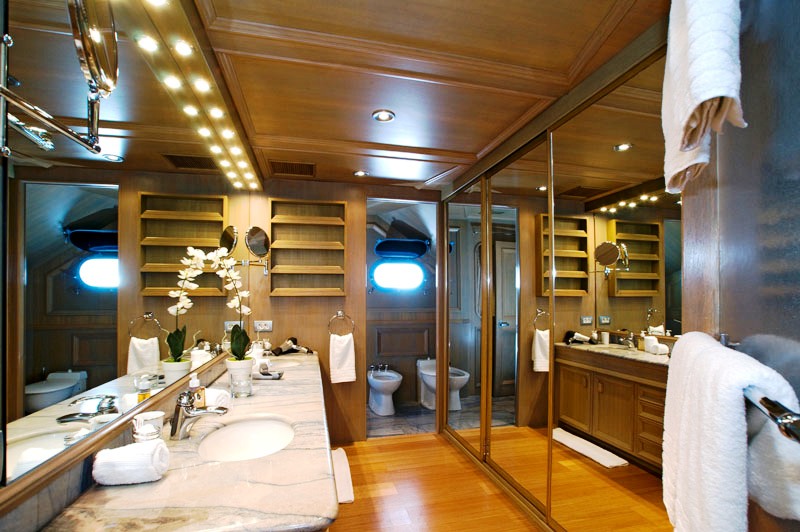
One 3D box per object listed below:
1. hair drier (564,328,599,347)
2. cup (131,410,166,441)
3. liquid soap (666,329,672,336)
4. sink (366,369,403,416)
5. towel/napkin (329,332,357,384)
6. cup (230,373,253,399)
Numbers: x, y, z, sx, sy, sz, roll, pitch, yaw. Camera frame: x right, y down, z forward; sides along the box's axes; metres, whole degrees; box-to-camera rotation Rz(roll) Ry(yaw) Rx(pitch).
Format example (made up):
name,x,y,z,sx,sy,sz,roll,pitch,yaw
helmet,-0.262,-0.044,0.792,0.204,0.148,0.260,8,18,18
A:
name,x,y,z,sx,sy,sz,roll,pitch,yaw
hair drier,1.043,0.424,3.137,0.059,0.071,0.118,4,0,-39
cup,-1.040,0.656,2.236,0.115,0.094,0.124,0,-8,0
liquid soap,1.292,0.321,2.592,0.023,0.022,0.023,-2,4,-39
sink,-0.189,1.350,5.708,0.352,0.350,0.458,1,-9,-14
towel/napkin,-0.523,0.799,4.812,0.226,0.397,0.241,-5,10,-8
cup,-0.915,0.682,3.098,0.136,0.135,0.129,-1,-5,0
